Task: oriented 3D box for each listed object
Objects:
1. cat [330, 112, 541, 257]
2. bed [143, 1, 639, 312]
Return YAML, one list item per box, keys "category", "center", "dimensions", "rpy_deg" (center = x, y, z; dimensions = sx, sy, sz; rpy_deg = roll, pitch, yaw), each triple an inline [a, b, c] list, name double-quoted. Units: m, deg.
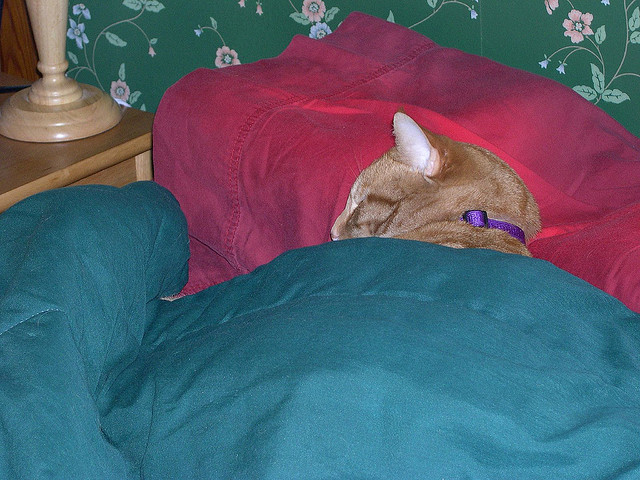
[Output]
- category: "cat"
  center: [0.214, -0.078, 1.177]
  dimensions: [0.381, 0.265, 0.247]
  rpy_deg: [-3, -3, -5]
- category: "bed"
  center: [0.163, -0.032, 1.322]
  dimensions: [0.716, 0.215, 0.688]
  rpy_deg: [27, 46, 26]
